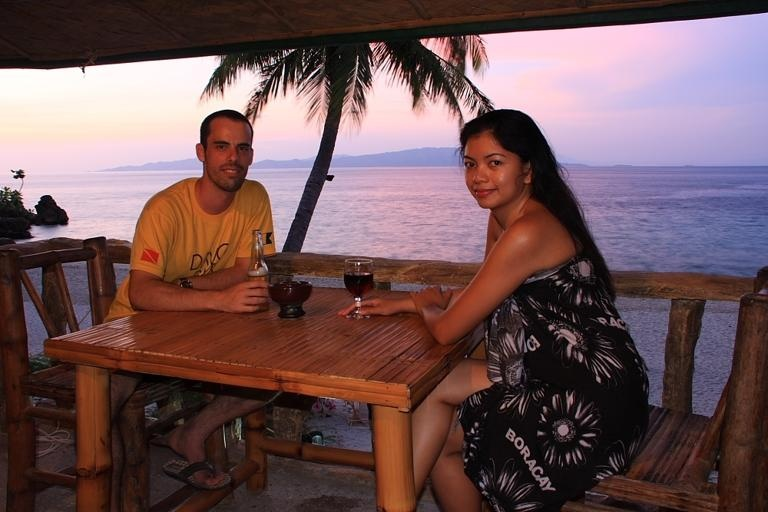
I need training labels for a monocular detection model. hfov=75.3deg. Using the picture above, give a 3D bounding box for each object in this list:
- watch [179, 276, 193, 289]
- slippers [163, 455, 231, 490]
[{"bbox_3d":[-1.031,0.144,2.586,0.044,0.050,0.057,24,-35,-35],"label":"watch"},{"bbox_3d":[-0.894,1.056,2.392,0.347,0.080,0.151,7,14,25],"label":"slippers"}]
